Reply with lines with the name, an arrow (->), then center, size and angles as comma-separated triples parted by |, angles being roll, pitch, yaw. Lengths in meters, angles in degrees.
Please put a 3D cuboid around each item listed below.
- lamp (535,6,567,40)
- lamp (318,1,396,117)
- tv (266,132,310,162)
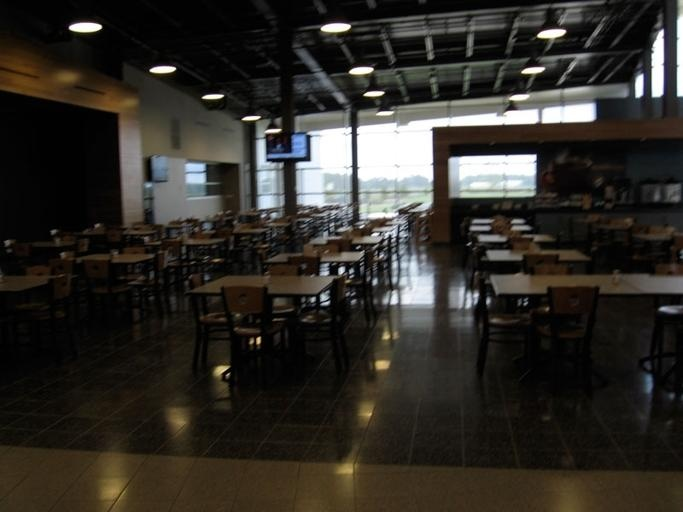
lamp -> 3.627, -4.085, 9.563 | 0.405, 0.639, 1.258 | 3, 14, 19
lamp -> 0.463, -5.643, 15.691 | 0.729, 3.991, 0.689 | -6, 40, 39
tv -> -1.584, -3.320, 16.585 | 1.039, 0.525, 0.128 | 0, 6, 10
